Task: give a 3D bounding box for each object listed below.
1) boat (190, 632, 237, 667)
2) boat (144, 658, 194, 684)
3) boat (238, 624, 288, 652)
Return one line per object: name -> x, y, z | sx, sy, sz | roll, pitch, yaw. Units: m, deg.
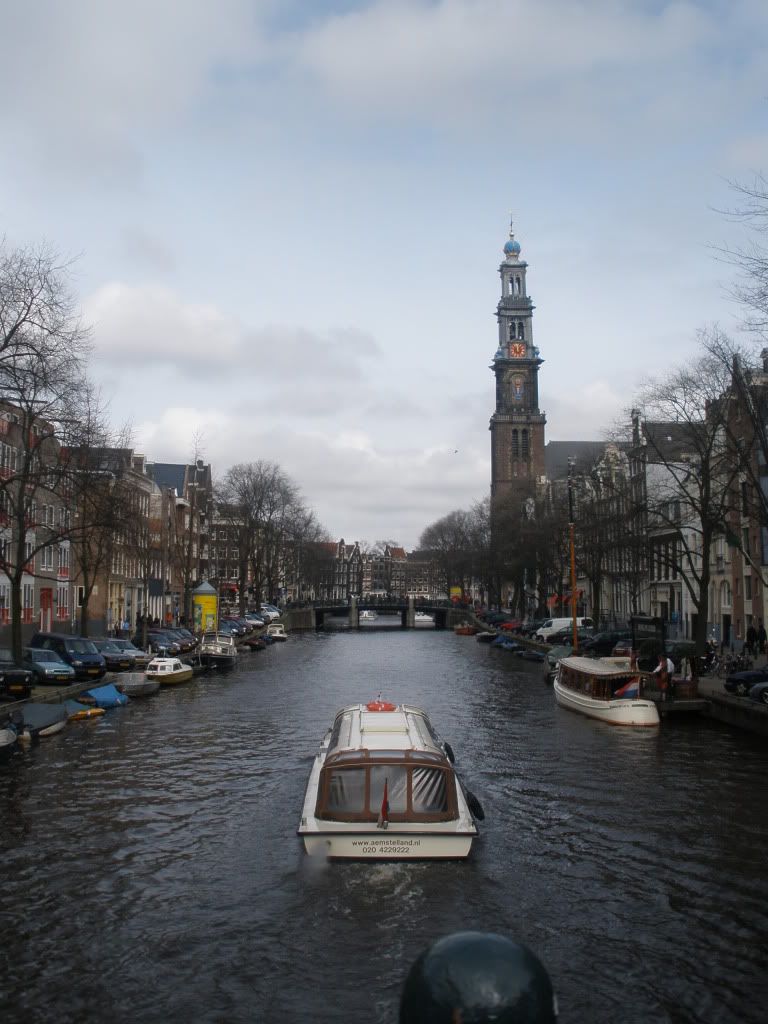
boat -> -10.780, 9.005, 58.985 | 1.687, 1.979, 3.959 | -2, -5, 14
boat -> -11.066, 8.186, 47.594 | 1.069, 0.930, 2.365 | -2, -11, 4
boat -> -11.151, 11.518, 84.716 | 2.051, 2.418, 9.020 | 0, -6, 9
